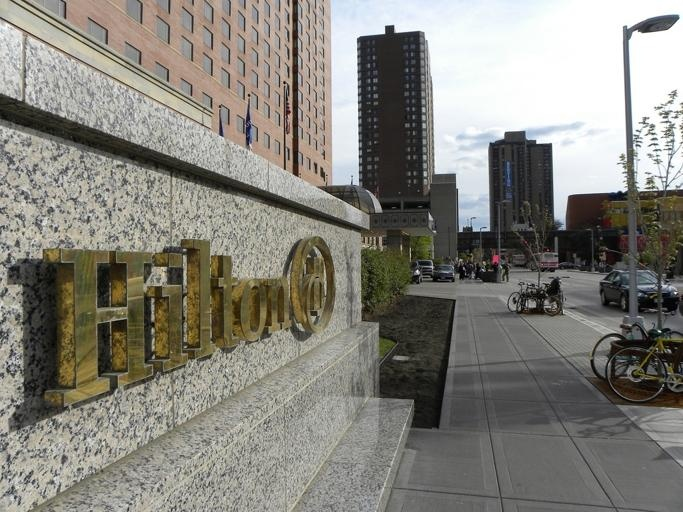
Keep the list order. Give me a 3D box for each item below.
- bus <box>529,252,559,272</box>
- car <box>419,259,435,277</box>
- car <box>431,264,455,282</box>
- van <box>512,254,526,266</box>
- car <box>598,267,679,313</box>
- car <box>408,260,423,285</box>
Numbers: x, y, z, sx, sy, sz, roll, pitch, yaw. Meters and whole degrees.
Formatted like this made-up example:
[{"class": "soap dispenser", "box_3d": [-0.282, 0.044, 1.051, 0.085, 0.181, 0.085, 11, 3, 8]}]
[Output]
[{"class": "bus", "box_3d": [25.635, 0.626, 71.017, 2.244, 2.205, 4.277, 1, 3, 6]}, {"class": "car", "box_3d": [7.487, 0.967, 49.976, 1.109, 1.276, 2.183, -1, -6, 7]}, {"class": "car", "box_3d": [8.321, 1.349, 46.001, 1.717, 1.213, 1.873, -1, 1, 9]}, {"class": "van", "box_3d": [34.625, 0.586, 109.557, 1.832, 2.104, 2.735, 0, -1, 17]}, {"class": "car", "box_3d": [10.374, 1.220, 19.752, 1.278, 1.263, 3.295, 0, -7, 6]}, {"class": "car", "box_3d": [5.439, 1.216, 41.363, 0.948, 0.964, 2.247, -2, -6, 12]}]
